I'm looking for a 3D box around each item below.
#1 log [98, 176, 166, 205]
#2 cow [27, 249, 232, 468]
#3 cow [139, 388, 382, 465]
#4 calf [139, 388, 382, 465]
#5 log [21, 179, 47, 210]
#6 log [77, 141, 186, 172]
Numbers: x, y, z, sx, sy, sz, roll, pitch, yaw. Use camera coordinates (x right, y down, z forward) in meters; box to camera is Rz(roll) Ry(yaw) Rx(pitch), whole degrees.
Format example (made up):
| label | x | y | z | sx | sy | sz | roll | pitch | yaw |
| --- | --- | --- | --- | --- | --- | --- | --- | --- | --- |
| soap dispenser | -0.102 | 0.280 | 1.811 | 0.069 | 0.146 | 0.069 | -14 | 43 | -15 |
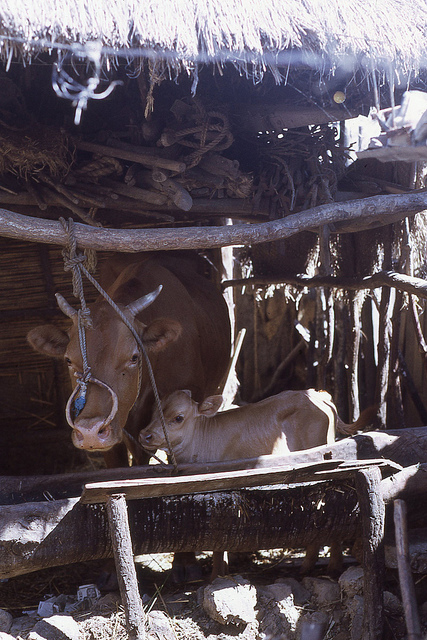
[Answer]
| label | x | y | z | sx | sy | sz | roll | pitch | yaw |
| --- | --- | --- | --- | --- | --- | --- | --- | --- | --- |
| log | -0.569 | -0.906 | 5.924 | 0.525 | 0.100 | 0.114 | 12 | 39 | -4 |
| cow | -0.409 | 0.137 | 5.919 | 1.017 | 1.345 | 2.732 | -4 | 5 | 9 |
| cow | 0.153 | 0.622 | 5.002 | 1.523 | 0.701 | 0.416 | -1 | -21 | 2 |
| calf | 0.230 | 0.583 | 5.093 | 1.173 | 0.420 | 0.758 | 3 | 3 | 20 |
| log | -1.207 | -0.848 | 5.713 | 0.086 | 0.063 | 0.391 | -31 | 33 | -4 |
| log | -0.553 | -1.104 | 5.730 | 0.735 | 0.225 | 0.158 | 0 | 9 | 12 |
